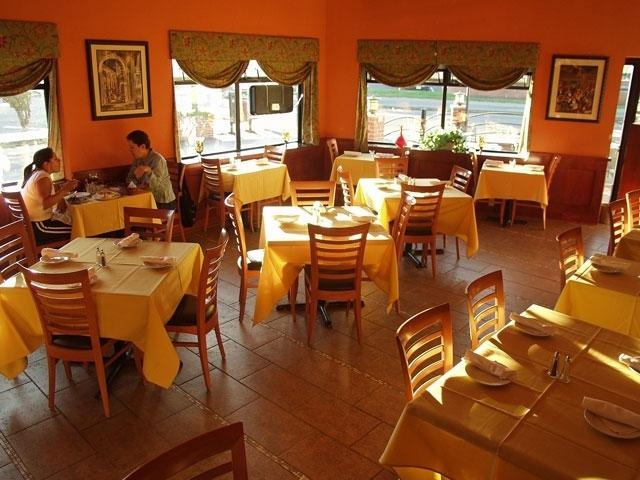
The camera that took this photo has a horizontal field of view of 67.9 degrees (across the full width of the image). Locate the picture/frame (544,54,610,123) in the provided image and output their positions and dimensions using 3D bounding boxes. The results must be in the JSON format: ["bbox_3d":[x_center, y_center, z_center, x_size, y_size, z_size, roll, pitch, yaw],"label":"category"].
[{"bbox_3d":[4.548,-2.707,8.361,0.982,1.294,0.046,12,21,25],"label":"picture/frame"}]

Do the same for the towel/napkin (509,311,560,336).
[{"bbox_3d":[1.535,0.617,3.454,0.141,0.048,0.170,-20,25,-36],"label":"towel/napkin"}]

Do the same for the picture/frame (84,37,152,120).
[{"bbox_3d":[-2.985,-2.390,6.944,0.048,1.279,1.074,11,19,35],"label":"picture/frame"}]
